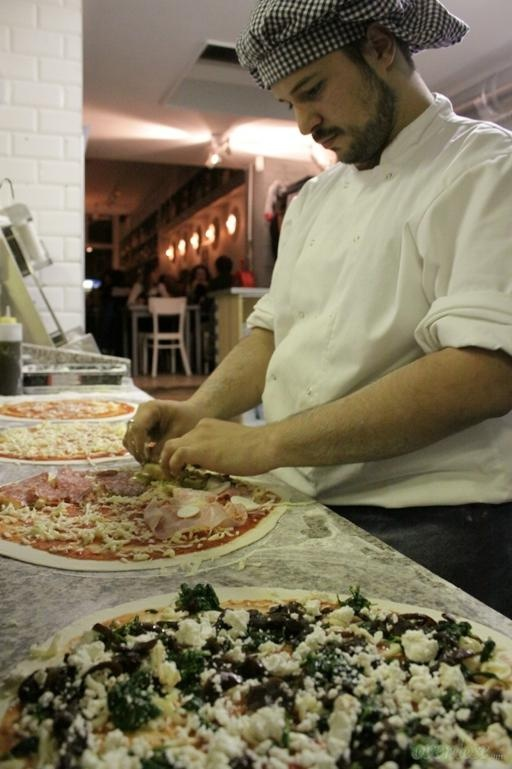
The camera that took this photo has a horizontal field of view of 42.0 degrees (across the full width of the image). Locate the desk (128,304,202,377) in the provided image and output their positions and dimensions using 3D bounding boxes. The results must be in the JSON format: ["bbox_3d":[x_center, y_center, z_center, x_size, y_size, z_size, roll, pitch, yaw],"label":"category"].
[{"bbox_3d":[-1.249,-0.561,8.917,0.944,1.175,1.104,-1,1,-11],"label":"desk"}]
